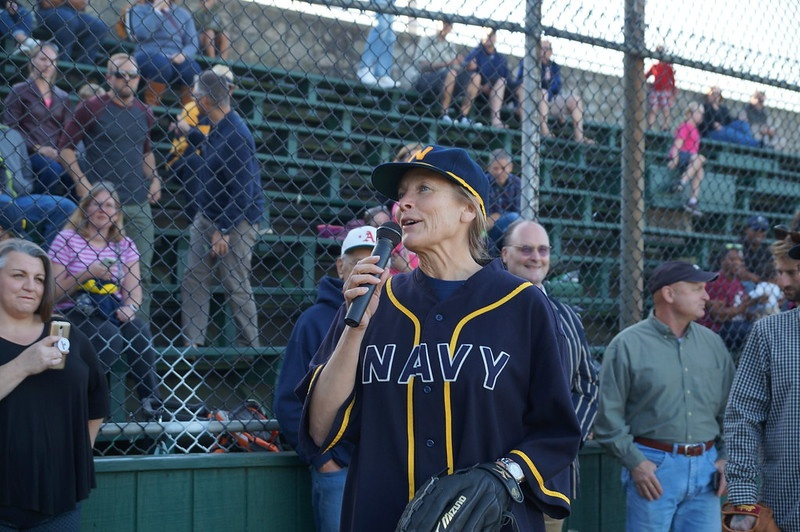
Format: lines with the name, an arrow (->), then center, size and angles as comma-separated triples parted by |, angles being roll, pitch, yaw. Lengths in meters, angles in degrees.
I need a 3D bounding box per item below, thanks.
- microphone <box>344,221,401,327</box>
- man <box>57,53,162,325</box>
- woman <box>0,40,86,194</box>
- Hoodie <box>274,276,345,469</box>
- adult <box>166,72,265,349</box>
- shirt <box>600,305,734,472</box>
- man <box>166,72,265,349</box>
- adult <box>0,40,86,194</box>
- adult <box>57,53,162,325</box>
microphone -> -0.138, -0.002, 8.912 | 0.252, 1.030, 0.260 | 34, -40, -12
man -> -2.884, -0.569, 11.914 | 1.028, 3.422, 0.807 | 4, -17, -27
woman -> -3.581, -1.580, 11.747 | 0.724, 1.966, 2.220 | 4, -6, -16
Hoodie -> -0.756, 1.216, 10.201 | 0.233, 0.671, 1.067 | -11, 26, 10
adult -> -1.724, -0.568, 11.631 | 0.787, 2.745, 1.291 | 3, -6, -11
shirt -> 2.532, 1.180, 10.973 | 1.446, 1.524, 0.776 | 2, -1, -11
man -> -1.724, -0.568, 11.631 | 0.787, 2.745, 1.291 | 3, -6, -11
adult -> -3.582, -1.580, 11.747 | 0.724, 1.966, 2.221 | 4, -6, -16
adult -> -2.925, -0.565, 11.946 | 1.045, 3.499, 0.783 | 1, -18, -20
